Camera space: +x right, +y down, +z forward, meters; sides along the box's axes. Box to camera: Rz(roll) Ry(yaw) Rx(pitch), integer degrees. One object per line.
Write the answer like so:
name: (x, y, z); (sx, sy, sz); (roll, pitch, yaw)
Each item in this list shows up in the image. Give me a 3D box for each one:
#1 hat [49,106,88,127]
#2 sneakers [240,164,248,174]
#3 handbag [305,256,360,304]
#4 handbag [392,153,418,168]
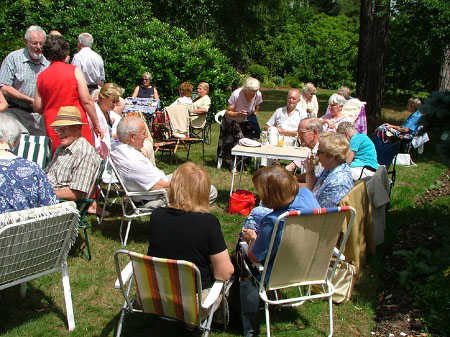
hat: (-1.888, -0.633, 5.453); (0.305, 0.194, 0.337); (0, 2, -6)
sneakers: (0.375, -0.002, 8.982); (0.104, 0.183, 0.183); (-1, -5, 0)
handbag: (1.221, 1.190, 5.232); (0.499, 0.568, 0.428); (1, -2, 29)
handbag: (3.719, -0.169, 9.464); (0.432, 0.156, 0.354); (-1, 3, -17)
